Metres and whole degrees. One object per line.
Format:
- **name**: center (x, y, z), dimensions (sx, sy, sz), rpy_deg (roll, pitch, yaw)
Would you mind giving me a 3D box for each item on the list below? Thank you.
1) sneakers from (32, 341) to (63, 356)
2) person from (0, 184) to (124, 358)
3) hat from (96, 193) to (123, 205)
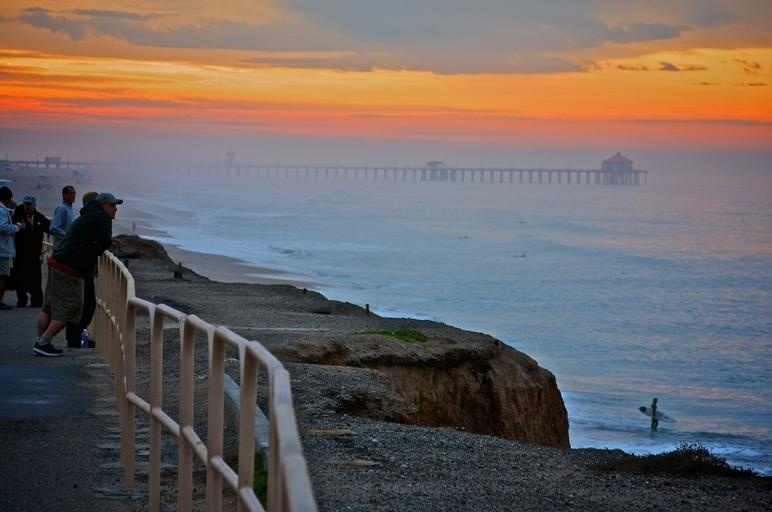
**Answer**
- **sneakers**: center (-6.377, 1.751, 22.188), dimensions (0.668, 0.244, 0.226), rpy_deg (2, 7, -4)
- **person**: center (-5.898, 0.320, 22.248), dimensions (1.206, 3.160, 1.163), rpy_deg (6, 9, -16)
- **hat**: center (-5.171, -1.062, 21.822), dimensions (0.569, 0.155, 0.313), rpy_deg (0, 4, -9)
